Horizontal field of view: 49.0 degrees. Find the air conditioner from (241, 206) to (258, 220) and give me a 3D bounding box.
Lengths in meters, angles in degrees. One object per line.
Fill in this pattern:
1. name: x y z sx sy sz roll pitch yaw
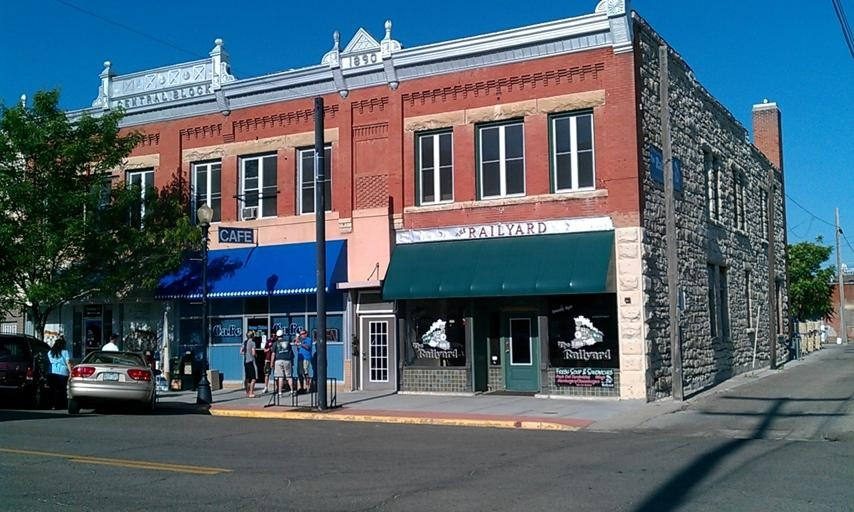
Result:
1. air conditioner: -7.219 -1.751 38.371 0.524 0.443 0.268 -3 -8 24
